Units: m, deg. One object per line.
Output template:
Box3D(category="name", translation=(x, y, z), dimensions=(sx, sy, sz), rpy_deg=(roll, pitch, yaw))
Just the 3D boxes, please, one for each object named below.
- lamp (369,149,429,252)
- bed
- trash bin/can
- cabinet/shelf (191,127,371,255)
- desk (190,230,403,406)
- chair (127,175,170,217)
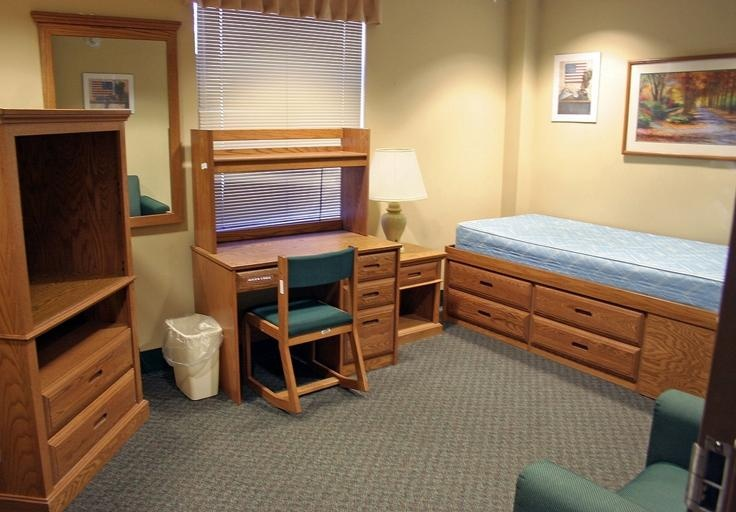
Box3D(category="lamp", translation=(0.187, -0.511, 4.401), dimensions=(0.424, 0.803, 0.509), rpy_deg=(-17, 23, -39))
Box3D(category="bed", translation=(1.774, 0.340, 4.311), dimensions=(2.027, 0.972, 0.917), rpy_deg=(12, 22, 38))
Box3D(category="trash bin/can", translation=(-1.283, 0.741, 3.747), dimensions=(0.358, 0.474, 0.444), rpy_deg=(-8, 15, -39))
Box3D(category="cabinet/shelf", translation=(-0.623, -0.554, 4.041), dimensions=(1.273, 0.844, 0.392), rpy_deg=(-8, 14, -33))
Box3D(category="desk", translation=(-0.544, 0.416, 4.028), dimensions=(1.333, 0.907, 0.695), rpy_deg=(-6, 12, -34))
Box3D(category="chair", translation=(-1.619, -0.471, 3.836), dimensions=(0.318, 0.329, 0.253), rpy_deg=(-11, 25, -42))
